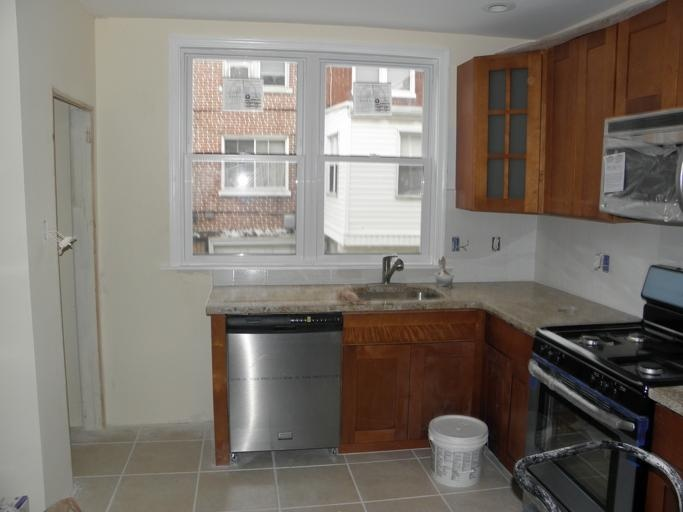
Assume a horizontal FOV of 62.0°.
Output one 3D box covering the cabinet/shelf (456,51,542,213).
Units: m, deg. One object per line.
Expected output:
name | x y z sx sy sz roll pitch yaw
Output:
cabinet/shelf | 1.074 -0.836 3.902 0.720 1.063 0.318 9 17 32

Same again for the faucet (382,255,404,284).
faucet | 0.383 0.099 4.104 0.176 0.272 0.184 0 0 15

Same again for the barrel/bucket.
barrel/bucket | 0.723 1.214 3.525 0.354 0.294 0.365 0 6 0

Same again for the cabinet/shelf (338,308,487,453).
cabinet/shelf | 0.454 0.774 3.707 0.894 0.910 0.475 -1 2 -11
